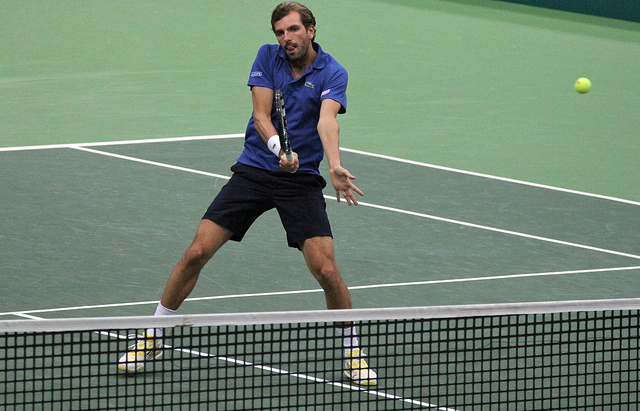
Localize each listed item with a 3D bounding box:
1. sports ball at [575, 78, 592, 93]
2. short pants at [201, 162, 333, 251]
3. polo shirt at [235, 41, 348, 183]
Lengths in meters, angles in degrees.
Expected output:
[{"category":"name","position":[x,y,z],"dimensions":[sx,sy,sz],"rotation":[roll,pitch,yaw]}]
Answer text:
[{"category":"sports ball","position":[4.134,-1.889,13.411],"dimensions":[0.210,0.219,0.289],"rotation":[2,11,10]},{"category":"short pants","position":[-0.419,0.042,7.099],"dimensions":[1.059,0.568,0.366],"rotation":[12,-17,7]},{"category":"polo shirt","position":[-0.218,-0.727,6.644],"dimensions":[0.849,1.102,0.476],"rotation":[0,12,1]}]
